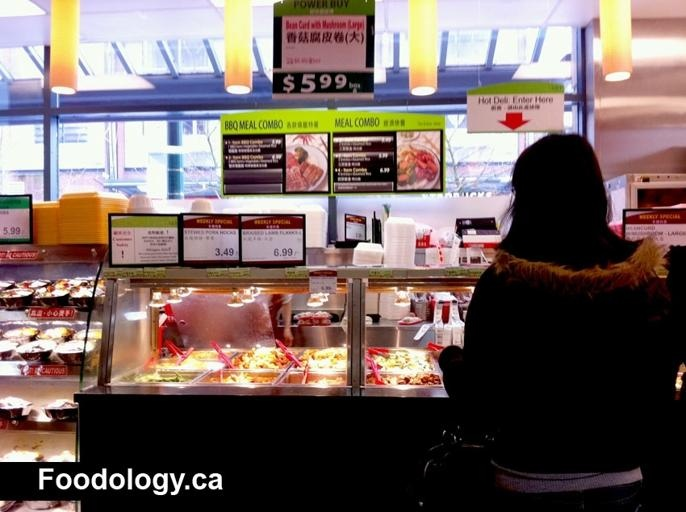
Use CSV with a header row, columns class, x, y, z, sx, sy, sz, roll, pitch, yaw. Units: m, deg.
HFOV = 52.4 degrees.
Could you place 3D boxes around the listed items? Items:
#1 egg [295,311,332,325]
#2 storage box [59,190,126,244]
class,x,y,z,sx,sy,sz,roll,pitch,yaw
egg,-0.226,0.480,5.174,0.263,0.069,0.168,-2,4,-7
storage box,-1.658,-0.246,4.770,0.604,0.411,0.324,0,3,-3
